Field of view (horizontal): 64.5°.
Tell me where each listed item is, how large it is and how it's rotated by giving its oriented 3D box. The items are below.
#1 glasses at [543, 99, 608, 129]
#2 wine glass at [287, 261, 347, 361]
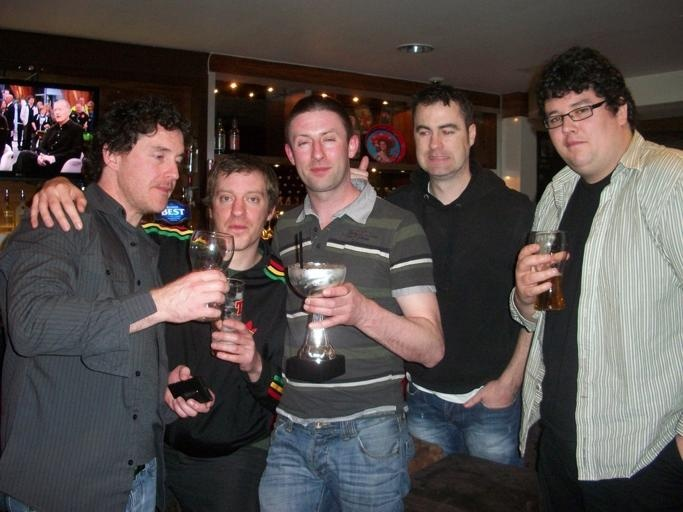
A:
[{"bbox_3d":[0.963,-0.589,2.261,0.129,0.037,0.124,-33,12,-32],"label":"glasses"},{"bbox_3d":[-0.087,0.216,2.034,0.196,0.400,0.296,-3,10,-6],"label":"wine glass"}]
